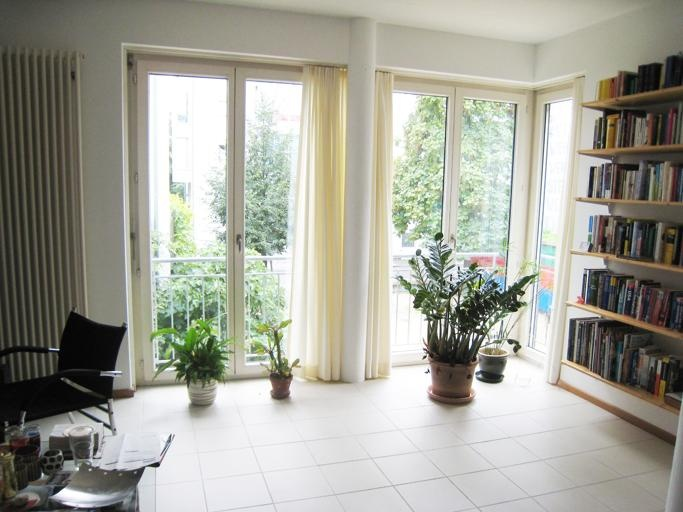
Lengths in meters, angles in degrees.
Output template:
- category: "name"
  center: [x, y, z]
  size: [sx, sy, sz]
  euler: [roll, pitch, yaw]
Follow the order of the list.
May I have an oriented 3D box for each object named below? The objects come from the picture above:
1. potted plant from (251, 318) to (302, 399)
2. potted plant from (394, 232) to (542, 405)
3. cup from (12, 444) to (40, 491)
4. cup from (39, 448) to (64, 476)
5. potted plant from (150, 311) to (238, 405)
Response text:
- category: "potted plant"
  center: [-0.588, 0.875, 4.454]
  size: [0.438, 0.662, 0.620]
  euler: [-1, 13, -11]
- category: "potted plant"
  center: [1.210, 0.631, 4.906]
  size: [1.397, 1.488, 1.561]
  euler: [3, -6, -8]
- category: "cup"
  center: [-1.564, 1.051, 2.409]
  size: [0.113, 0.124, 0.179]
  euler: [2, -1, -6]
- category: "cup"
  center: [-1.486, 1.058, 2.488]
  size: [0.102, 0.101, 0.104]
  euler: [2, -4, 0]
- category: "potted plant"
  center: [-1.267, 0.859, 4.354]
  size: [0.757, 0.731, 0.704]
  euler: [4, -5, -36]
